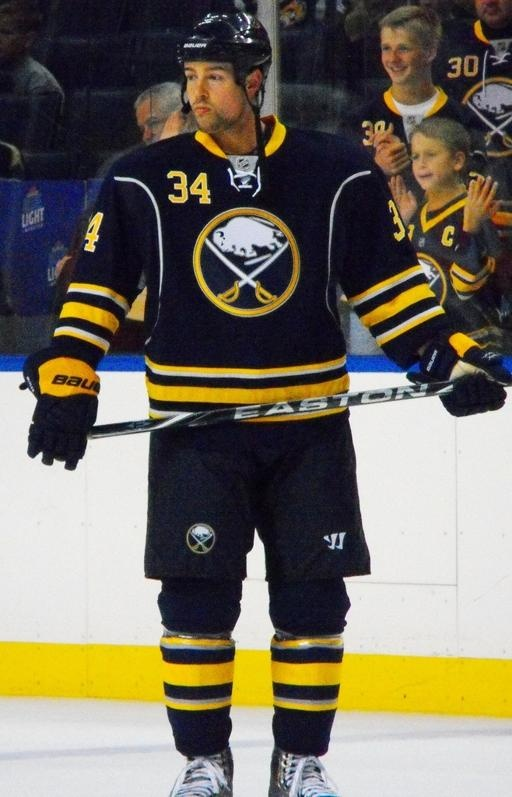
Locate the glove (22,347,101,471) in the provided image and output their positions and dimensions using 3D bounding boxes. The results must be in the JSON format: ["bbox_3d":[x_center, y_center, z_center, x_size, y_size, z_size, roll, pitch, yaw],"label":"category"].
[{"bbox_3d":[-0.342,0.021,1.876,0.145,0.062,0.203,13,69,-11],"label":"glove"}]

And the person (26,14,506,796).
[{"bbox_3d":[0.018,0.031,1.937,0.740,1.307,0.680,-24,35,-37],"label":"person"}]

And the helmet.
[{"bbox_3d":[-0.046,-0.619,1.931,0.124,0.129,0.145,6,9,41],"label":"helmet"}]
